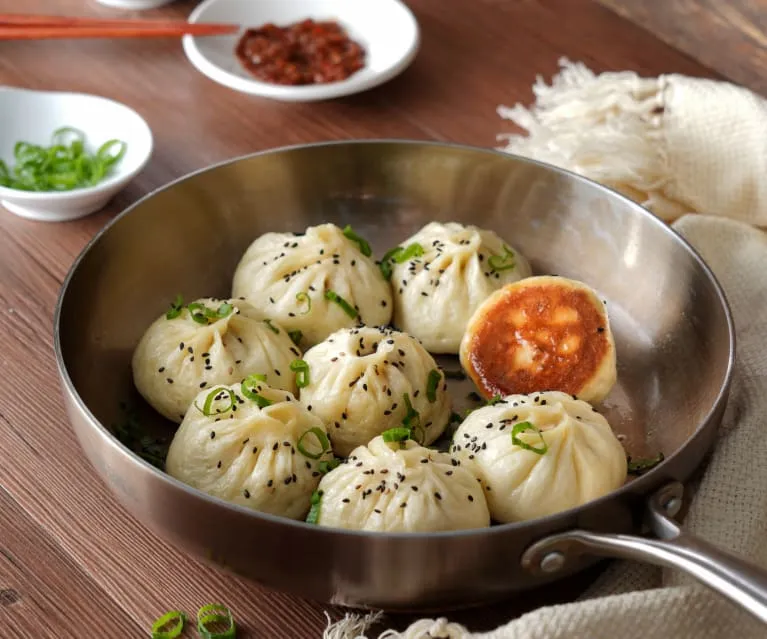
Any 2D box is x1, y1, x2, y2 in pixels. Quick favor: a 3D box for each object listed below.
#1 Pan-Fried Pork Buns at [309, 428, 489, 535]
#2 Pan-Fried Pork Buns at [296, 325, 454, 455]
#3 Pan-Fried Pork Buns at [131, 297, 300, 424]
[{"bbox_3d":[0.028,0.307,1.592,0.212,0.224,0.116,2,96,20],"label":"Pan-Fried Pork Buns"},{"bbox_3d":[-0.012,0.138,1.800,0.265,0.176,0.271,-12,47,-19],"label":"Pan-Fried Pork Buns"},{"bbox_3d":[-0.358,0.067,1.833,0.276,0.156,0.283,-9,45,-21],"label":"Pan-Fried Pork Buns"}]
